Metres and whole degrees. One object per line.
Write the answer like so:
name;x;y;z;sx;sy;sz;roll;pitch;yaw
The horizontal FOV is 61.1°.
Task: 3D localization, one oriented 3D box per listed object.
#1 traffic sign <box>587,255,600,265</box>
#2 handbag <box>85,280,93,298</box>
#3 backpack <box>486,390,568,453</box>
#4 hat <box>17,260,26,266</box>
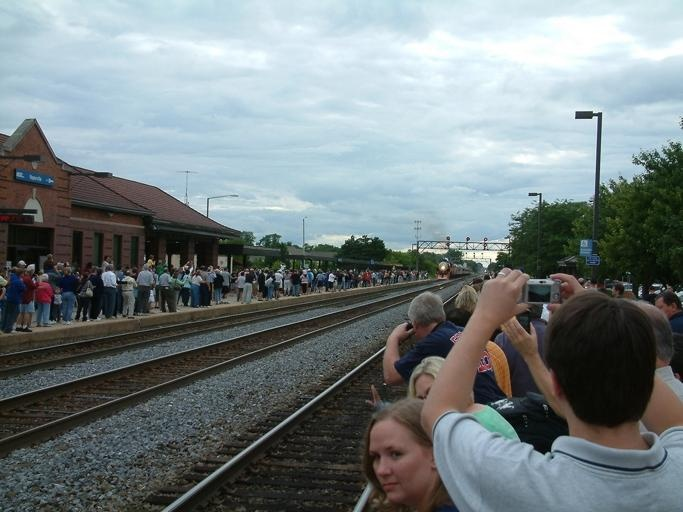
traffic sign;8.865;0.136;20.379;0.385;0.263;0.051;-3;8;1
handbag;-7.763;1.010;17.724;0.260;0.524;0.527;-3;0;-12
backpack;0.976;0.835;2.960;0.271;0.126;0.327;6;1;-17
hat;-10.687;0.224;19.263;0.229;0.101;0.302;3;-2;-37
